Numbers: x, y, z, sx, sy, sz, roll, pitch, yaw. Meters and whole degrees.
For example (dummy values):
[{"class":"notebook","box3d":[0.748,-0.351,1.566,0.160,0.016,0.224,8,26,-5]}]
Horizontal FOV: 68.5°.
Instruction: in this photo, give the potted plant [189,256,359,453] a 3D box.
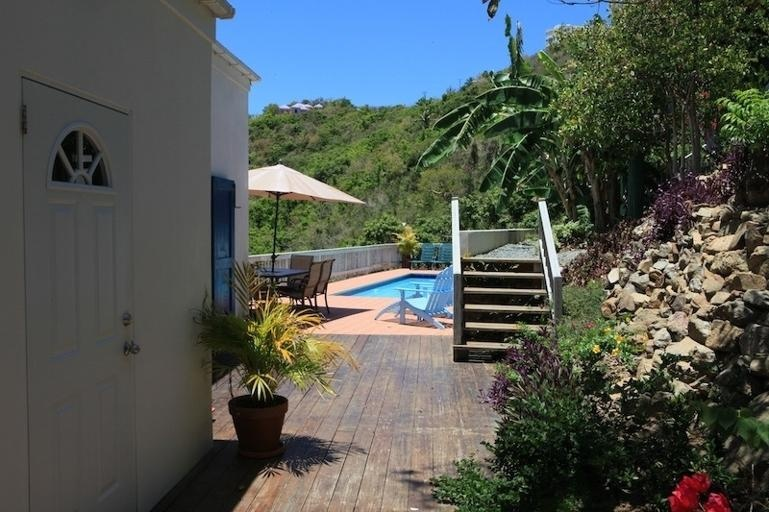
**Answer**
[{"class":"potted plant","box3d":[-1.192,1.022,6.371,1.233,1.498,3.024,-1,7,-6]}]

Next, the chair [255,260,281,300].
[{"class":"chair","box3d":[-1.967,0.417,9.524,0.423,0.240,0.713,3,9,-6]}]

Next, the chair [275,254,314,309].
[{"class":"chair","box3d":[-1.607,0.613,10.504,0.680,1.103,0.704,8,7,20]}]

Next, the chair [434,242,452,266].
[{"class":"chair","box3d":[2.138,-0.058,20.198,0.577,0.906,0.698,0,-2,12]}]

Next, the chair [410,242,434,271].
[{"class":"chair","box3d":[1.324,0.053,20.315,0.620,1.031,0.959,1,3,23]}]

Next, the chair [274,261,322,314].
[{"class":"chair","box3d":[-1.502,0.525,10.429,0.756,1.146,0.763,7,7,27]}]

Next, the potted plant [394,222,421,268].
[{"class":"potted plant","box3d":[0.851,-0.366,20.947,1.058,1.994,1.287,-1,5,-1]}]
